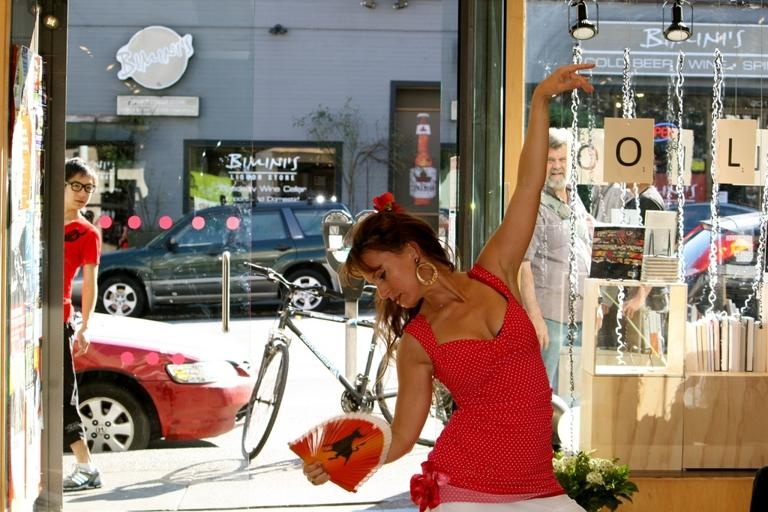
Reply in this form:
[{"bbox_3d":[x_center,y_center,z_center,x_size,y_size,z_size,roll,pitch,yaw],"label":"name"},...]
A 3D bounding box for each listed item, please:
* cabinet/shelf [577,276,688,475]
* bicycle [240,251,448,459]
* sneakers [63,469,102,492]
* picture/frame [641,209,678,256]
[{"bbox_3d":[1.640,0.686,9.077,0.635,1.384,0.436,1,23,11],"label":"cabinet/shelf"},{"bbox_3d":[-0.184,0.705,9.570,1.658,1.238,0.803,10,-11,-36],"label":"bicycle"},{"bbox_3d":[-1.937,1.413,9.025,0.243,0.141,0.096,2,-2,-19],"label":"sneakers"},{"bbox_3d":[1.771,-0.153,9.127,0.205,0.329,0.036,2,29,6],"label":"picture/frame"}]
